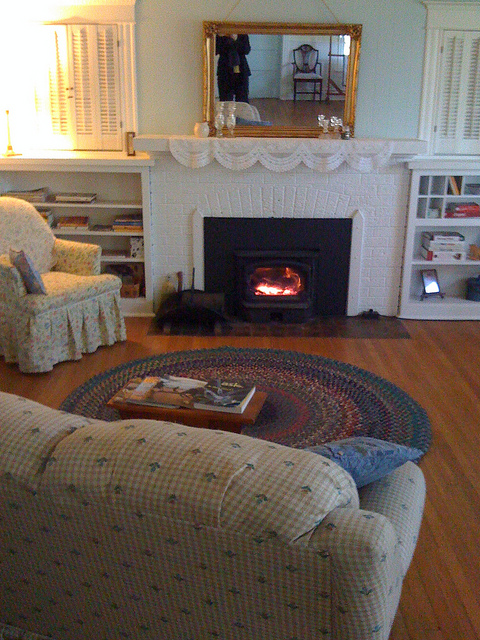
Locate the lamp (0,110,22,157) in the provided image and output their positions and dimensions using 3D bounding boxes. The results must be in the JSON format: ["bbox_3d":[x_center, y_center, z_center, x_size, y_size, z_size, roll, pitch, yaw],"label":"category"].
[{"bbox_3d":[-1.955,-1.568,4.421,0.175,0.371,0.372,-7,21,-20],"label":"lamp"}]

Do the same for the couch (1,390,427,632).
[{"bbox_3d":[-0.023,0.566,1.326,0.902,0.625,0.525,6,35,19],"label":"couch"}]

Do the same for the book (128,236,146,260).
[{"bbox_3d":[-0.893,-0.624,4.574,0.172,0.235,0.132,5,31,-7],"label":"book"}]

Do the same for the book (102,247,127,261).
[{"bbox_3d":[-1.130,-0.593,4.699,0.182,0.044,0.166,3,29,-3],"label":"book"}]

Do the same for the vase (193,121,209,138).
[{"bbox_3d":[-0.315,-1.545,4.298,0.125,0.133,0.118,-9,30,-17],"label":"vase"}]

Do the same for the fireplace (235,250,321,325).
[{"bbox_3d":[0.317,-0.308,4.610,0.710,0.624,0.398,0,13,1],"label":"fireplace"}]

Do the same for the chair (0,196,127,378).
[{"bbox_3d":[-1.319,-0.221,3.863,0.967,1.068,0.857,24,30,15],"label":"chair"}]

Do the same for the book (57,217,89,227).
[{"bbox_3d":[-1.455,-0.858,4.603,0.164,0.040,0.114,1,27,-4],"label":"book"}]

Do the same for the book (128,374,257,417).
[{"bbox_3d":[-0.236,0.365,2.580,0.413,0.043,0.240,5,26,15],"label":"book"}]

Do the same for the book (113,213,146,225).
[{"bbox_3d":[-0.979,-0.882,4.611,0.207,0.048,0.206,-2,28,-5],"label":"book"}]
